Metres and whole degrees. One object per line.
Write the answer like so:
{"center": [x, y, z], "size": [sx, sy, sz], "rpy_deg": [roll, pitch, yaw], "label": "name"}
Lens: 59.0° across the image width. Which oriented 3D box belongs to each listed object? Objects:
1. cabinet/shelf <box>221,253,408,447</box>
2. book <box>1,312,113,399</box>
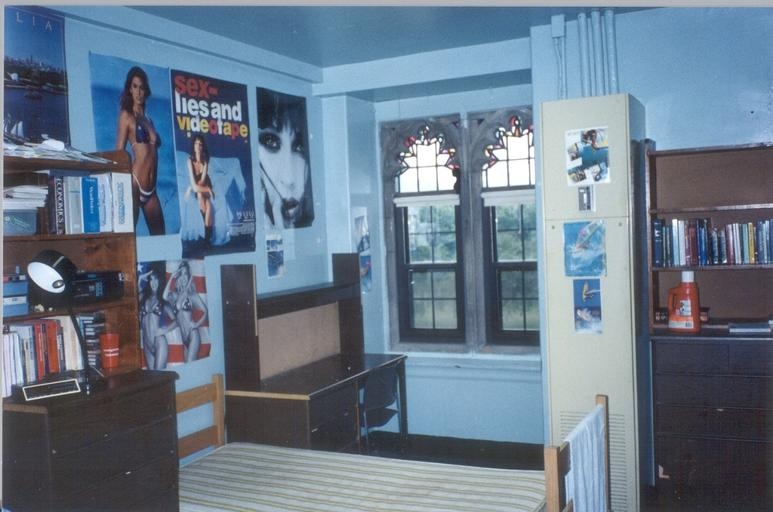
{"center": [-0.547, 0.727, 5.022], "size": [0.701, 1.642, 1.470], "rpy_deg": [-2, 1, 23], "label": "cabinet/shelf"}
{"center": [-1.791, 0.540, 3.671], "size": [0.176, 0.263, 0.466], "rpy_deg": [-1, 9, 41], "label": "book"}
